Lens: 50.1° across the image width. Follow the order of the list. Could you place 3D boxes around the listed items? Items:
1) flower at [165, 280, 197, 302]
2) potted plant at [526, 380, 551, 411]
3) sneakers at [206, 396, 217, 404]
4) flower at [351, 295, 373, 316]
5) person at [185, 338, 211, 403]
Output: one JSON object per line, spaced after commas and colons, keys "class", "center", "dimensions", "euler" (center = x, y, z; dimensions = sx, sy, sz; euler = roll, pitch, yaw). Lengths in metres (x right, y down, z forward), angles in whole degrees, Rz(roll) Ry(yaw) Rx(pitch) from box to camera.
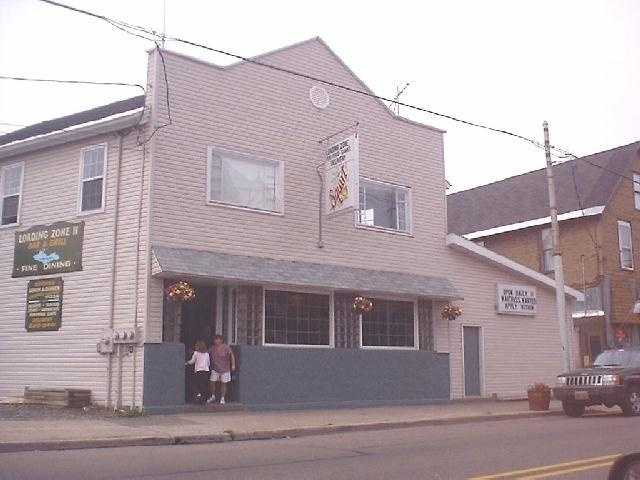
{"class": "flower", "center": [-3.976, 1.442, 19.246], "dimensions": [0.623, 0.261, 0.671], "euler": [-4, -16, 18]}
{"class": "potted plant", "center": [7.122, 5.103, 22.407], "dimensions": [0.783, 0.923, 0.900], "euler": [4, -7, -30]}
{"class": "sneakers", "center": [-3.122, 4.668, 19.972], "dimensions": [0.365, 0.220, 0.120], "euler": [-10, -15, 23]}
{"class": "flower", "center": [1.435, 2.146, 23.019], "dimensions": [0.638, 0.349, 0.632], "euler": [-9, -47, 16]}
{"class": "person", "center": [-3.529, 3.894, 20.108], "dimensions": [0.626, 1.730, 1.216], "euler": [2, -15, -9]}
